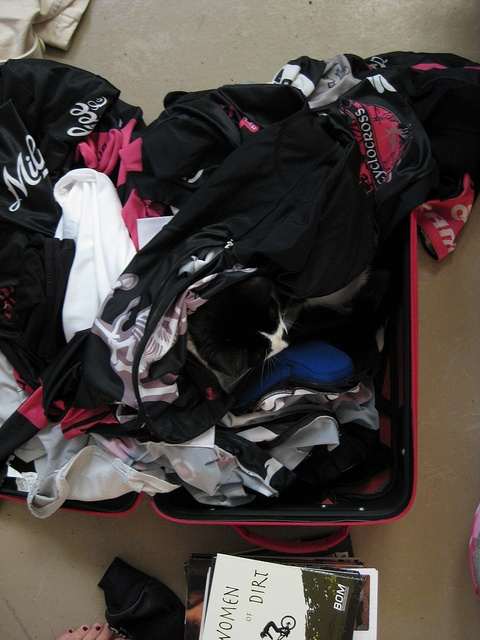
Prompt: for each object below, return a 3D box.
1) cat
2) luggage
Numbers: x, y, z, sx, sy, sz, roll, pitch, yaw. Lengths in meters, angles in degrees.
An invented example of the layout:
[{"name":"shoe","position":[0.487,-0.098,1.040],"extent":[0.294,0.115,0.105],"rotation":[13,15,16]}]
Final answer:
[{"name":"cat","position":[0.087,-0.008,1.099],"extent":[0.385,0.174,0.093],"rotation":[-15,43,-12]},{"name":"luggage","position":[-0.015,0.198,1.409],"extent":[0.810,0.673,0.263],"rotation":[0,12,7]}]
